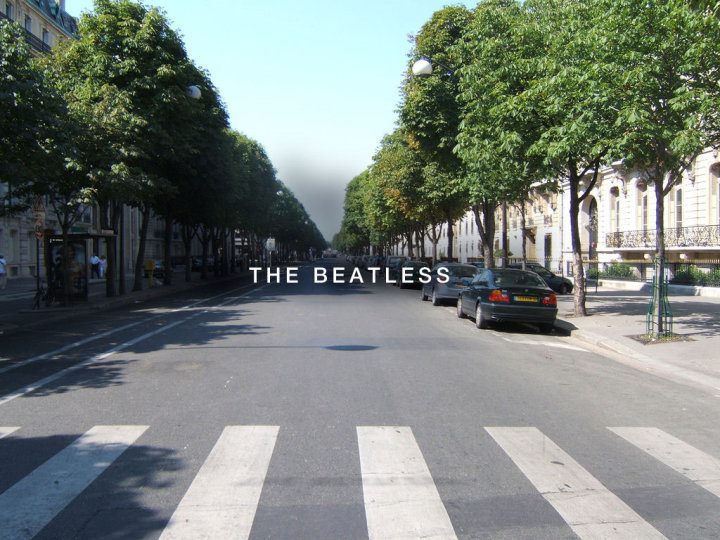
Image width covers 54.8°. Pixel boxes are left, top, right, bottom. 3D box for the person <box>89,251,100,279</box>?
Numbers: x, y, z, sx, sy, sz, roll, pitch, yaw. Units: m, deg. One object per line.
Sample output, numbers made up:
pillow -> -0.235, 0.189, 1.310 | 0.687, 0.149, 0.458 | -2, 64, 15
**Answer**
person -> -17.205, -0.115, 45.074 | 0.651, 1.437, 2.551 | -1, 4, -22
